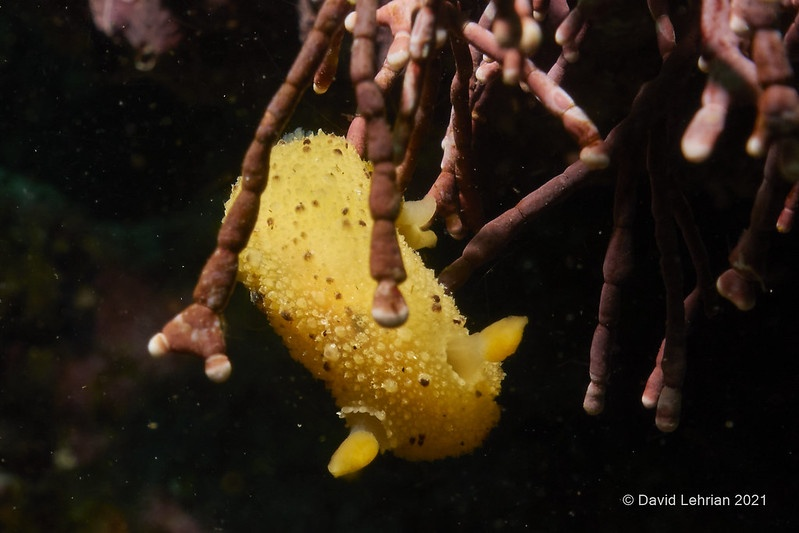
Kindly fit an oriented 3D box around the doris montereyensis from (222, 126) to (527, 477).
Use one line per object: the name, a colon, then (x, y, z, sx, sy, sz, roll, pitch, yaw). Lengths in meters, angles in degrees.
doris montereyensis: (-0.077, 0.095, 1.857, 0.491, 0.250, 0.677, -42, 74, -14)
